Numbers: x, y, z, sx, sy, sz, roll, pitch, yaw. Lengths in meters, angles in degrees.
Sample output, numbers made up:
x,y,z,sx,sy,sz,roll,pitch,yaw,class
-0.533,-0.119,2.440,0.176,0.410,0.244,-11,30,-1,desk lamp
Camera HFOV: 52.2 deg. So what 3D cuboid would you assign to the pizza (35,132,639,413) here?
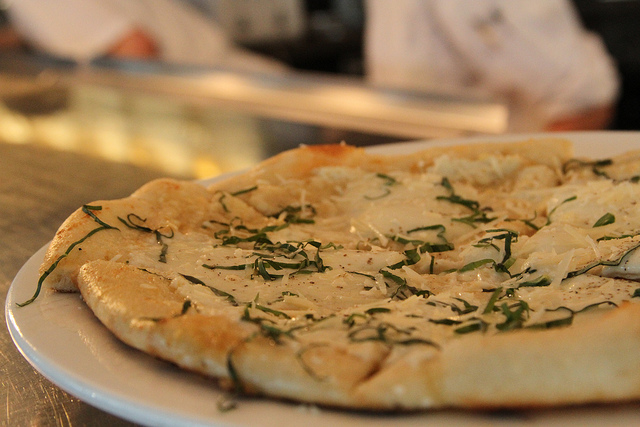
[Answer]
x,y,z,sx,sy,sz,roll,pitch,yaw,class
0.097,0.225,1.920,1.396,1.090,0.145,3,96,42,pizza
